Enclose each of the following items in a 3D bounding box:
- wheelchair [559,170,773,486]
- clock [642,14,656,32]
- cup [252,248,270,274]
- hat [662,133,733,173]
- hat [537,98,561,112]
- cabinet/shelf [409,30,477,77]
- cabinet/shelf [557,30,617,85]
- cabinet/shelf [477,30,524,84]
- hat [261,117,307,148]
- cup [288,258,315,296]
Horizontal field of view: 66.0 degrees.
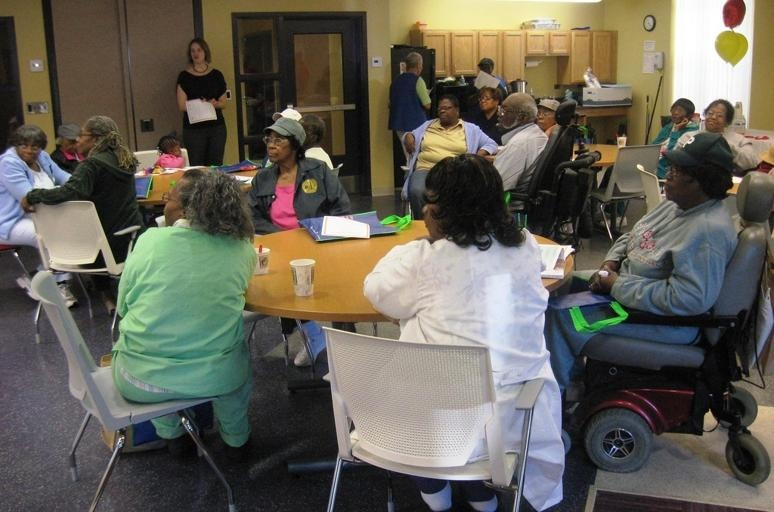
[{"bbox_3d":[1.984,0.382,3.963,1.462,2.071,1.241,2,8,13],"label":"wheelchair"},{"bbox_3d":[4.917,-4.358,11.164,0.028,0.311,0.313,-11,18,-27],"label":"clock"},{"bbox_3d":[-0.669,0.021,3.218,0.119,0.124,0.121,2,8,0],"label":"cup"},{"bbox_3d":[1.664,-0.571,3.154,0.347,0.185,0.237,9,26,9],"label":"hat"},{"bbox_3d":[1.665,-1.534,6.049,0.198,0.083,0.275,9,5,31],"label":"hat"},{"bbox_3d":[1.089,-3.613,10.763,1.128,0.799,0.442,-5,8,-17],"label":"cabinet/shelf"},{"bbox_3d":[4.230,-3.987,11.837,0.546,0.957,1.018,-23,27,-32],"label":"cabinet/shelf"},{"bbox_3d":[2.084,-3.710,11.156,0.994,0.996,0.403,-6,13,-16],"label":"cabinet/shelf"},{"bbox_3d":[-0.731,-0.891,4.297,0.180,0.130,0.251,23,-1,45],"label":"hat"},{"bbox_3d":[-0.404,0.104,2.967,0.158,0.174,0.157,-1,5,0],"label":"cup"}]
